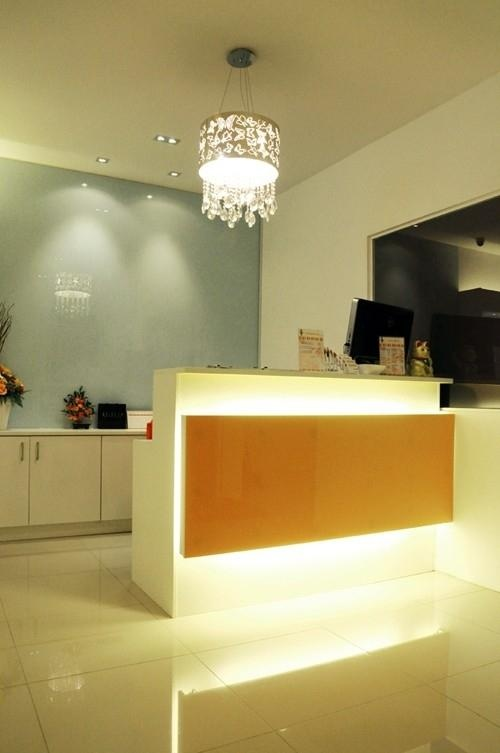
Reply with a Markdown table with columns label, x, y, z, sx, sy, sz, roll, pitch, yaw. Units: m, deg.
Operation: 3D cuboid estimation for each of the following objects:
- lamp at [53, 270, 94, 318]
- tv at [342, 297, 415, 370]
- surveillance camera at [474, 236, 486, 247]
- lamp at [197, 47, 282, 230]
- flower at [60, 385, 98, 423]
| label | x | y | z | sx | sy | sz | roll | pitch | yaw |
| --- | --- | --- | --- | --- | --- | --- | --- | --- | --- |
| lamp | -1.631 | -0.767 | 5.013 | 0.296 | 0.407 | 0.321 | 0 | 1 | -10 |
| tv | 0.735 | -0.236 | 3.383 | 0.455 | 0.530 | 0.368 | 6 | -3 | -28 |
| surveillance camera | 1.647 | -0.973 | 3.889 | 0.056 | 0.122 | 0.073 | 0 | 2 | -35 |
| lamp | -0.022 | -1.569 | 3.380 | 0.318 | 0.833 | 0.336 | -5 | 10 | 39 |
| flower | -1.561 | 0.235 | 4.894 | 0.296 | 0.370 | 0.279 | 1 | -2 | -22 |
